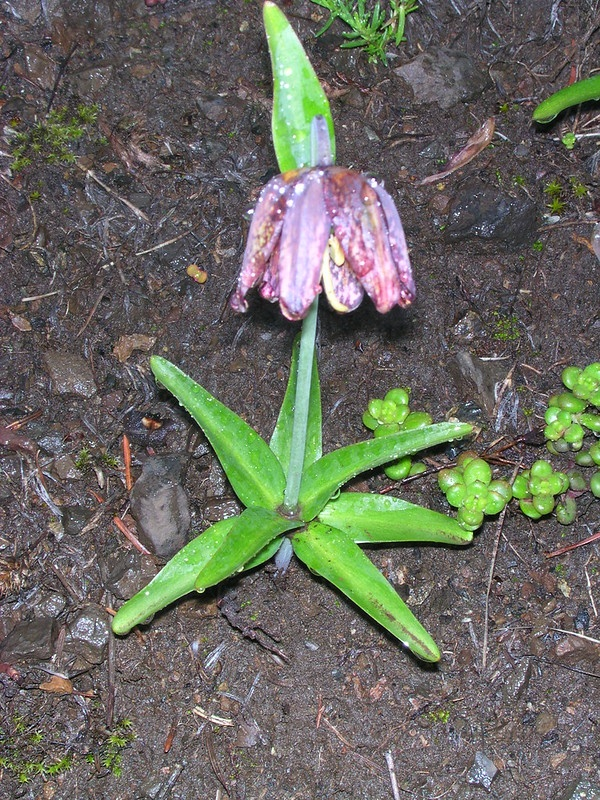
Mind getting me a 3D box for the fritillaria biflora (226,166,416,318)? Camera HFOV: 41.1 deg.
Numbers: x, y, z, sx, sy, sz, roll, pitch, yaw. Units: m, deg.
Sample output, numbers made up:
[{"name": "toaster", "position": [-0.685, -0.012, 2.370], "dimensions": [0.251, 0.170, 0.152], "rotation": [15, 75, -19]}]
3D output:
[{"name": "fritillaria biflora", "position": [0.074, -0.388, 1.825], "dimensions": [0.412, 0.304, 0.392], "rotation": [-8, 21, -31]}]
